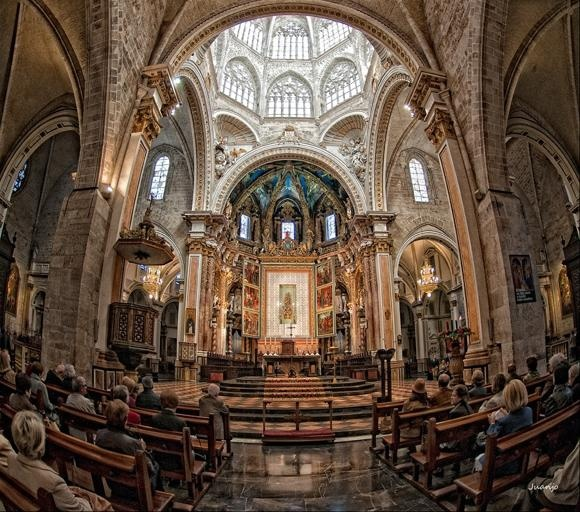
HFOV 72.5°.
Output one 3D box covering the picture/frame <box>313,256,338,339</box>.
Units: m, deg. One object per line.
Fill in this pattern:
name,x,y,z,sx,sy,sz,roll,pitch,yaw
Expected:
picture/frame,2.199,2.475,24.325,0.590,4.899,2.187,7,-20,-21
